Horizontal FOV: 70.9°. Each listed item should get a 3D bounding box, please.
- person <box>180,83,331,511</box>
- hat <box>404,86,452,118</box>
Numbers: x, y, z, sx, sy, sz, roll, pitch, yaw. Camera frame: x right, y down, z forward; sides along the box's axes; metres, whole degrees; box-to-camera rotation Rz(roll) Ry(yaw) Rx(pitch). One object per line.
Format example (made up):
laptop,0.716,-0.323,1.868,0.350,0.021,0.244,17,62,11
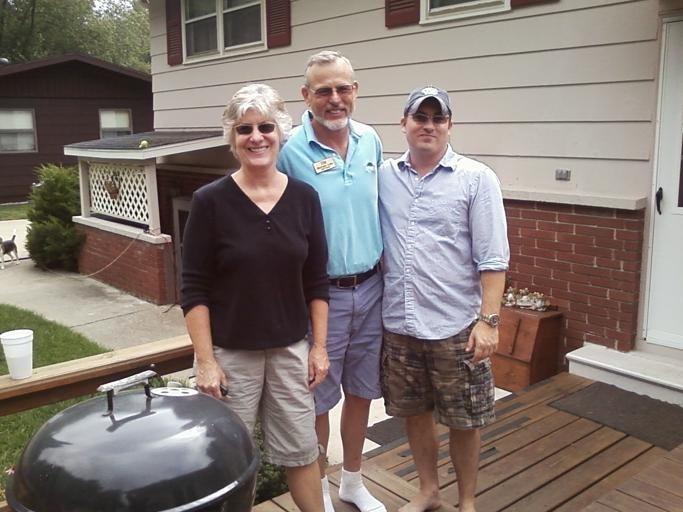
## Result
person,-0.361,0.217,2.088,0.624,1.902,0.261,-5,8,-3
hat,0.430,-0.772,2.398,0.224,0.163,0.217,-3,8,8
